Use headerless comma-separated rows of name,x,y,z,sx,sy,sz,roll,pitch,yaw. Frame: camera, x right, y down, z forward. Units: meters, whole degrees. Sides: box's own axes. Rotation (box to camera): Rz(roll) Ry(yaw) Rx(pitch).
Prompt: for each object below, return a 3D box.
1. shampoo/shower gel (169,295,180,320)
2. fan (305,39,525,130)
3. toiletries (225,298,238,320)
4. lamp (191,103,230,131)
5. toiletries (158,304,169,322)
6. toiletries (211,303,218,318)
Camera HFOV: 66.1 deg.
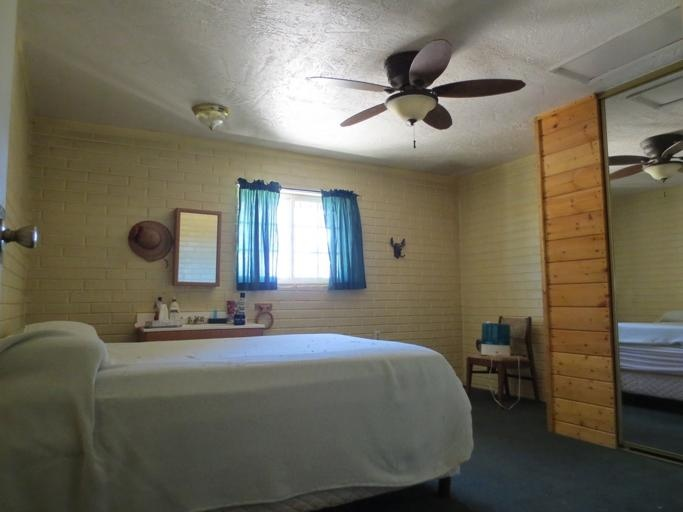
shampoo/shower gel,-1.603,0.504,5.040,0.093,0.219,0.225,-1,0,-17
fan,0.603,-1.207,3.773,0.877,0.302,0.862,-2,-16,2
toiletries,-1.125,0.553,5.355,0.104,0.195,0.134,-1,0,-1
lamp,-1.165,-1.244,4.699,0.240,0.139,0.224,-2,-9,-7
toiletries,-1.673,0.530,4.936,0.098,0.175,0.300,-1,0,-19
toiletries,-1.281,0.569,5.302,0.026,0.101,0.097,12,-23,-27
